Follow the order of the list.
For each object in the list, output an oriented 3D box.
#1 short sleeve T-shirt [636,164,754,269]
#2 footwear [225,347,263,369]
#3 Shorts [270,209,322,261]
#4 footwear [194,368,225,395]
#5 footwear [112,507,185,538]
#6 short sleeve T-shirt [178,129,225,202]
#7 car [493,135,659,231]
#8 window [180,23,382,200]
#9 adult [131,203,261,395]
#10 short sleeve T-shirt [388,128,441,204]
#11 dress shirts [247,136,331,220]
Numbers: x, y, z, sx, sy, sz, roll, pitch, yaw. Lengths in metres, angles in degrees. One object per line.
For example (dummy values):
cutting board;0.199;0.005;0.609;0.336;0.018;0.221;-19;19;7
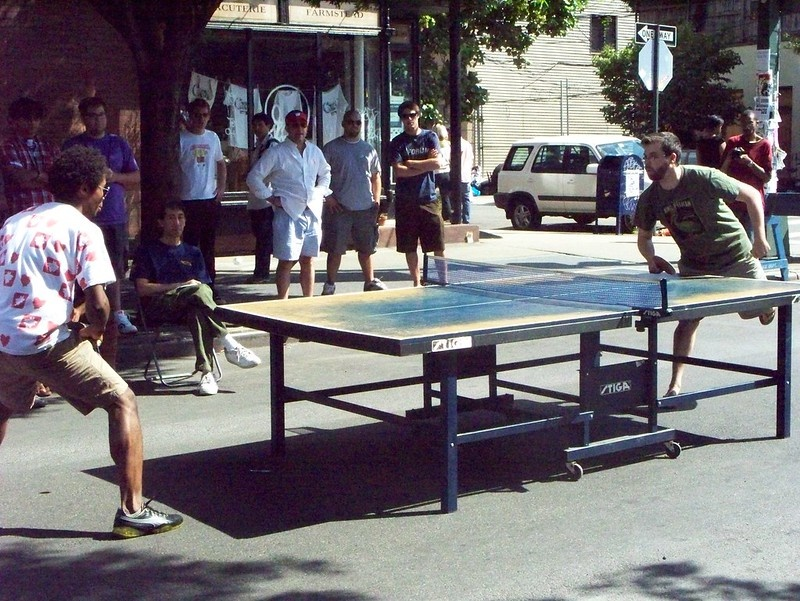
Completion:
short sleeve T-shirt;2.364;-0.656;7.900;0.893;0.873;0.516;3;10;20
footwear;-1.420;0.512;8.931;0.321;0.151;0.184;7;33;5
Shorts;-1.147;-0.741;10.999;0.538;0.584;0.387;-2;10;-11
footwear;-1.696;0.726;8.724;0.187;0.232;0.550;0;-2;-5
footwear;-1.471;1.299;5.796;0.422;0.219;0.156;-2;4;-28
short sleeve T-shirt;-2.430;-1.662;11.975;0.544;0.835;0.391;-4;10;-22
car;3.581;-2.624;22.067;2.993;1.612;1.903;3;7;40
window;-1.936;-2.950;14.874;3.513;2.729;0.247;-4;12;-32
adult;-1.984;0.196;8.889;0.733;1.095;0.564;-20;-16;37
short sleeve T-shirt;0.184;-1.657;12.103;0.586;0.890;0.380;-1;9;-1
dress shirts;-1.269;-1.402;11.357;1.253;1.080;0.547;-3;2;-39
